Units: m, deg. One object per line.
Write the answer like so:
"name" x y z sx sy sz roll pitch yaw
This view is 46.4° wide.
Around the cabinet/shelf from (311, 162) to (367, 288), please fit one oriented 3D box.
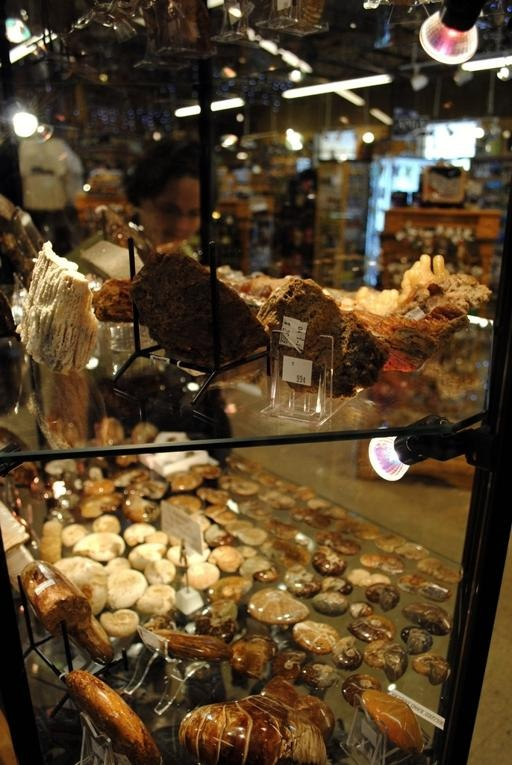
"cabinet/shelf" 0.604 -1.137 4.245 0.389 0.824 0.619 4 18 7
